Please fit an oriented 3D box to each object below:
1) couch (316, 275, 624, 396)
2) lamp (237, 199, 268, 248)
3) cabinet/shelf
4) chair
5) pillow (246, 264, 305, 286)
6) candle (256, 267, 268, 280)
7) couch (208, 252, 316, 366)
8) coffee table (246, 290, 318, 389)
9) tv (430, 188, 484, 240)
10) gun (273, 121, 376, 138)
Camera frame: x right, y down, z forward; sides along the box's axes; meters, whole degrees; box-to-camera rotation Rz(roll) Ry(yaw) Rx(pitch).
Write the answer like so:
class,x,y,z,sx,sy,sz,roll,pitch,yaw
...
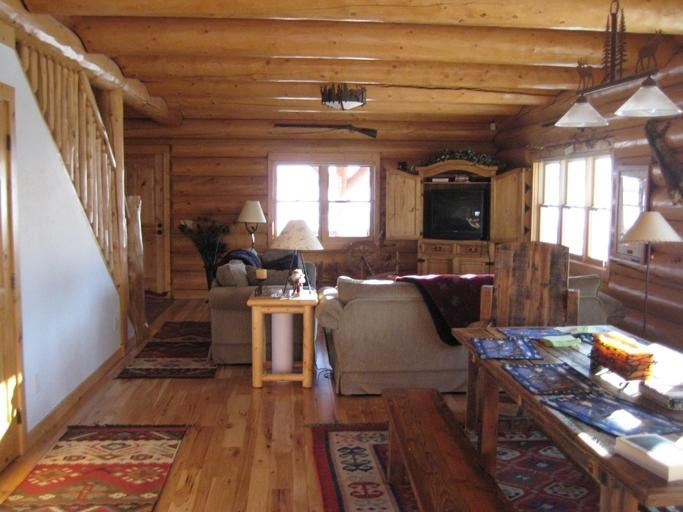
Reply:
class,x,y,z,sx,sy,sz,roll,pitch,yaw
couch,0.469,0.755,5.582,2.462,1.033,1.203,0,9,-1
lamp,-1.356,-0.453,8.699,0.455,0.805,0.933,-2,12,-8
cabinet/shelf,1.780,-0.485,8.872,2.187,1.703,1.049,1,0,16
chair,1.181,0.609,4.466,1.000,1.406,0.909,6,-12,-27
pillow,-0.780,0.229,6.003,0.340,0.190,0.302,1,8,-3
candle,-0.753,0.179,5.454,0.142,0.101,0.127,0,-1,-16
couch,-0.887,0.561,6.715,1.317,0.945,2.086,3,3,-11
coffee table,-0.527,0.775,5.357,0.640,0.854,0.476,0,13,-3
tv,1.809,-0.638,8.757,0.937,0.703,0.458,1,8,11
gun,-0.317,-2.006,8.948,1.684,0.078,0.253,2,-24,-3
